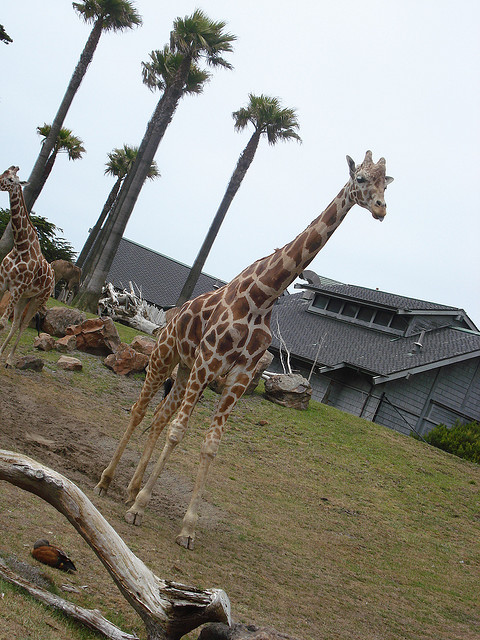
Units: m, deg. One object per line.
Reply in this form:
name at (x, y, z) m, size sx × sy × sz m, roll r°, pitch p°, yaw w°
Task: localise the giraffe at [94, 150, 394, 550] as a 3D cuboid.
giraffe at (-0.049, 0.099, 6.129) m, size 0.988 × 4.799 × 2.253 m, roll 30°, pitch -6°, yaw -29°
